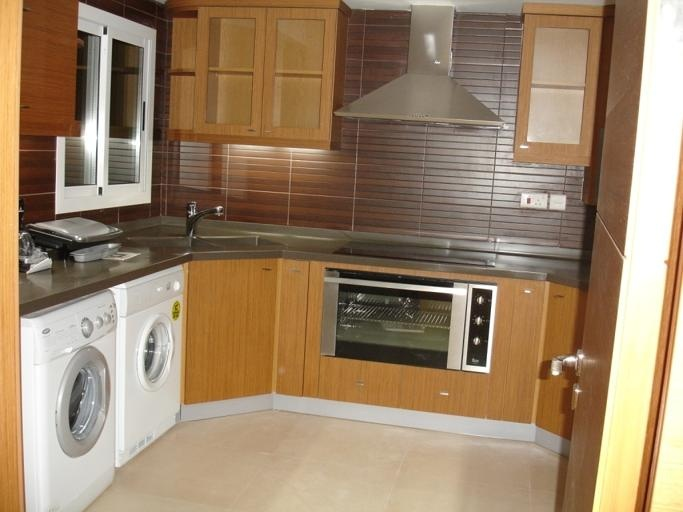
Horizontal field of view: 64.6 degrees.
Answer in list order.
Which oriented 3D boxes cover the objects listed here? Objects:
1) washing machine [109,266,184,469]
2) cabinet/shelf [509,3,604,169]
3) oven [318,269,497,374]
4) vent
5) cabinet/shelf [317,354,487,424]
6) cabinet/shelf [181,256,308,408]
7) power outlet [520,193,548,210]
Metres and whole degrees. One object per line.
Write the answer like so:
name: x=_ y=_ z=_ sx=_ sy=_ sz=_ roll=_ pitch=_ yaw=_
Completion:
washing machine: x=-1.052 y=0.550 z=2.905 sx=0.658 sy=0.570 sz=0.820 roll=10 pitch=-81 yaw=39
cabinet/shelf: x=1.384 y=-1.097 z=3.604 sx=0.553 sy=0.424 sz=0.942 roll=4 pitch=-78 yaw=11
oven: x=0.452 y=0.392 z=3.611 sx=1.111 sy=0.555 sz=0.482 roll=4 pitch=-86 yaw=11
vent: x=0.584 y=-1.152 z=3.520 sx=1.270 sy=0.513 sz=0.830 roll=7 pitch=-77 yaw=14
cabinet/shelf: x=0.406 y=0.875 z=3.527 sx=1.119 sy=0.481 sz=0.343 roll=3 pitch=-81 yaw=6
cabinet/shelf: x=-0.584 y=0.409 z=3.650 sx=0.995 sy=0.807 sz=1.146 roll=-5 pitch=-78 yaw=-30
power outlet: x=1.332 y=-0.381 z=3.730 sx=0.178 sy=0.071 sz=0.114 roll=2 pitch=-67 yaw=-3
